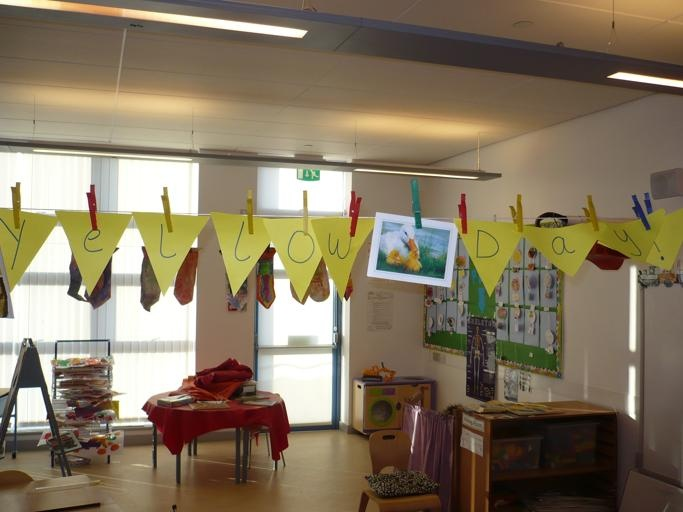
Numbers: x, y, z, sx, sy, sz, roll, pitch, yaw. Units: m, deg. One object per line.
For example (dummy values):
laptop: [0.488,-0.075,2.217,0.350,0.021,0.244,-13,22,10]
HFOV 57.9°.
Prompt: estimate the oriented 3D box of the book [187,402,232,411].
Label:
book: [-1.337,1.523,6.241,0.399,0.066,0.181,1,1,-11]

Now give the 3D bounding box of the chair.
chair: [0.427,1.830,5.227,0.615,1.060,0.719,2,-10,-9]

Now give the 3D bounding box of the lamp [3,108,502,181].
lamp: [-0.906,-0.965,6.111,4.387,0.161,0.597,1,1,-16]

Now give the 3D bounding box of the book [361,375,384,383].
book: [0.408,1.629,8.084,0.286,0.070,0.167,1,1,-4]

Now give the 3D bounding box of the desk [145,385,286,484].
desk: [-1.212,1.709,6.498,0.997,0.550,1.056,1,-8,-1]

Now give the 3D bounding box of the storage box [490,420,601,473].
storage box: [1.808,1.711,5.423,0.474,0.285,0.737,0,-4,-11]

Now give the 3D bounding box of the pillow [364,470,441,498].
pillow: [0.484,1.875,5.086,0.544,0.200,0.385,1,1,-16]
